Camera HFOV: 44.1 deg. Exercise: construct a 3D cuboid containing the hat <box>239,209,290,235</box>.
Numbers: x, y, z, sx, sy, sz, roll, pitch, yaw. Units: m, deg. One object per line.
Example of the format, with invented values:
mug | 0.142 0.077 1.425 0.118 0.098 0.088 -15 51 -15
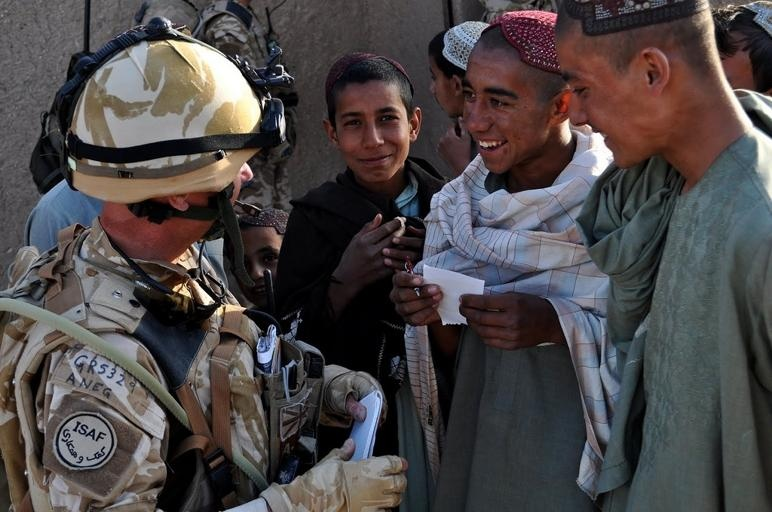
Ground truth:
hat | -0.718 -0.219 5.652 0.254 0.140 0.192 5 3 5
